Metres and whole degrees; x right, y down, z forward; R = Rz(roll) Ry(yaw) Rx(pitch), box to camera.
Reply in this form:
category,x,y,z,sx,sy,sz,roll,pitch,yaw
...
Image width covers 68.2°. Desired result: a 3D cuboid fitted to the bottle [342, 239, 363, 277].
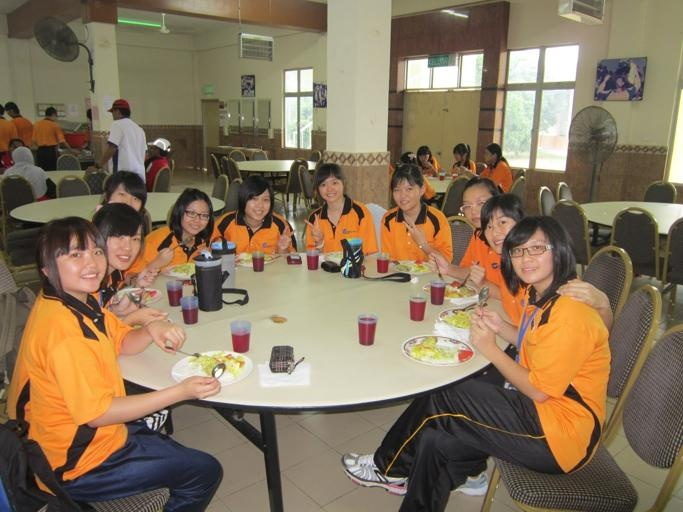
category,x,y,z,sx,sy,sz,roll,pitch,yaw
bottle,0.075,-0.002,2.806,0.151,0.205,0.166,4,12,16

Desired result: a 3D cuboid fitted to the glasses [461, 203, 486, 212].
category,x,y,z,sx,sy,sz,roll,pitch,yaw
glasses,0.786,-0.291,2.980,0.084,0.027,0.086,12,30,37

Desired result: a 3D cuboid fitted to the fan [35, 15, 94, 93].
category,x,y,z,sx,sy,sz,roll,pitch,yaw
fan,-3.795,-2.930,7.196,0.447,1.275,0.706,-9,44,-16

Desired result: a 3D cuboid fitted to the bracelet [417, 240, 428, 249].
category,x,y,z,sx,sy,sz,roll,pitch,yaw
bracelet,0.485,-0.065,3.017,0.034,0.055,0.053,-29,59,-6

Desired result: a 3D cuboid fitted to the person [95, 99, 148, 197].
category,x,y,z,sx,sy,sz,roll,pitch,yaw
person,-2.553,-1.055,5.965,0.500,1.473,0.488,-6,7,-37

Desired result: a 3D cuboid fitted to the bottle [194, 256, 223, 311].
category,x,y,z,sx,sy,sz,roll,pitch,yaw
bottle,-0.608,0.120,2.345,0.132,0.233,0.143,-2,7,0

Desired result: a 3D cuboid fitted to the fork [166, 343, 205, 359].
category,x,y,z,sx,sy,sz,roll,pitch,yaw
fork,-0.604,0.369,1.950,0.096,0.015,0.020,28,21,-16

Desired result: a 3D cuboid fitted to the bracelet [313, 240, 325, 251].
category,x,y,z,sx,sy,sz,roll,pitch,yaw
bracelet,-0.140,-0.071,3.265,0.055,0.045,0.057,-7,-18,31

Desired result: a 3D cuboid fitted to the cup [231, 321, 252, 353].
category,x,y,z,sx,sy,sz,roll,pitch,yaw
cup,-0.394,0.320,1.988,0.089,0.105,0.087,-2,6,0

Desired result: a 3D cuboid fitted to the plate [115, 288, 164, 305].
category,x,y,z,sx,sy,sz,roll,pitch,yaw
plate,-0.946,0.183,2.395,0.108,0.019,0.107,-10,30,-40

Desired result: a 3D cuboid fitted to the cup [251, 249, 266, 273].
category,x,y,z,sx,sy,sz,roll,pitch,yaw
cup,-0.463,0.020,2.830,0.091,0.108,0.091,1,21,0

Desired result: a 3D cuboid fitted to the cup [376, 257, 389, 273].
category,x,y,z,sx,sy,sz,roll,pitch,yaw
cup,0.234,0.037,2.914,0.080,0.095,0.080,1,18,0

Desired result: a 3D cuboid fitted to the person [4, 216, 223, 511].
category,x,y,z,sx,sy,sz,roll,pitch,yaw
person,-0.791,0.457,1.768,0.646,1.167,0.379,-7,14,-17

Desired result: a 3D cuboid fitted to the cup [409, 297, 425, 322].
category,x,y,z,sx,sy,sz,roll,pitch,yaw
cup,0.337,0.233,2.272,0.090,0.107,0.092,1,15,0

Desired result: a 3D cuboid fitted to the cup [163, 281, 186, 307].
category,x,y,z,sx,sy,sz,roll,pitch,yaw
cup,-0.774,0.169,2.415,0.110,0.141,0.114,-1,8,0

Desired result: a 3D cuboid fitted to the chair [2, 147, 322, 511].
category,x,y,z,sx,sy,sz,roll,pitch,yaw
chair,-0.918,0.092,2.355,1.020,1.844,0.894,-12,36,-31

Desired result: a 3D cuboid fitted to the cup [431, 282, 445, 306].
category,x,y,z,sx,sy,sz,roll,pitch,yaw
cup,0.460,0.175,2.409,0.072,0.089,0.073,-1,21,0

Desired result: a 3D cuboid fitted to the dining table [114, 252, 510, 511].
category,x,y,z,sx,sy,sz,roll,pitch,yaw
dining table,-0.097,0.350,2.105,1.155,0.621,1.189,11,28,36
